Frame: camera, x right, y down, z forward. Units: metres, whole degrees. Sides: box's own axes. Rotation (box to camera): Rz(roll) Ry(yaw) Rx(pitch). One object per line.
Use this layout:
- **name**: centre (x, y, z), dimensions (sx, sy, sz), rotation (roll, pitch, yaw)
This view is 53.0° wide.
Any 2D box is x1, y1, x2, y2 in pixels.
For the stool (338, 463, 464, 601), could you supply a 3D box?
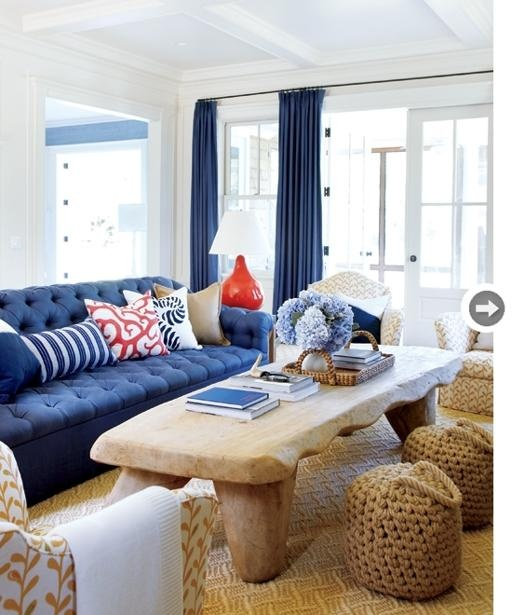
- **stool**: centre (0.461, 0.723, 1.793), dimensions (0.383, 0.376, 0.389), rotation (-2, 6, 4)

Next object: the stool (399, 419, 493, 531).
- **stool**: centre (0.844, 0.691, 2.213), dimensions (0.376, 0.348, 0.371), rotation (-12, -16, 9)

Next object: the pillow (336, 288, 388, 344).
- **pillow**: centre (0.722, 0.069, 3.400), dimensions (0.369, 0.133, 0.374), rotation (16, 48, 15)

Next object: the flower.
- **flower**: centre (0.280, 0.051, 2.371), dimensions (0.285, 0.223, 0.324), rotation (1, 7, 3)

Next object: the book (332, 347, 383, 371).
- **book**: centre (0.485, 0.252, 2.565), dimensions (0.141, 0.032, 0.140), rotation (5, 12, 40)

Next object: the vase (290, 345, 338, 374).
- **vase**: centre (0.262, 0.250, 2.413), dimensions (0.162, 0.057, 0.114), rotation (1, 4, 31)
